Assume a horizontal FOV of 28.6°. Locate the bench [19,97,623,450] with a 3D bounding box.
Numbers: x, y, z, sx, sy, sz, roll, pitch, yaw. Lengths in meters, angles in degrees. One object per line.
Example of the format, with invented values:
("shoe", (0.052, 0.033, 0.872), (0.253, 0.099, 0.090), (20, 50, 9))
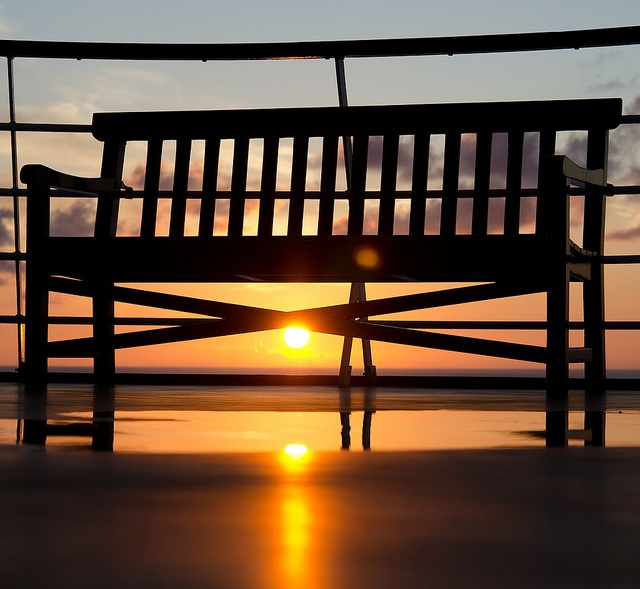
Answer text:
("bench", (0.062, -0.103, 4.143), (1.575, 0.928, 0.517), (1, -8, -1))
